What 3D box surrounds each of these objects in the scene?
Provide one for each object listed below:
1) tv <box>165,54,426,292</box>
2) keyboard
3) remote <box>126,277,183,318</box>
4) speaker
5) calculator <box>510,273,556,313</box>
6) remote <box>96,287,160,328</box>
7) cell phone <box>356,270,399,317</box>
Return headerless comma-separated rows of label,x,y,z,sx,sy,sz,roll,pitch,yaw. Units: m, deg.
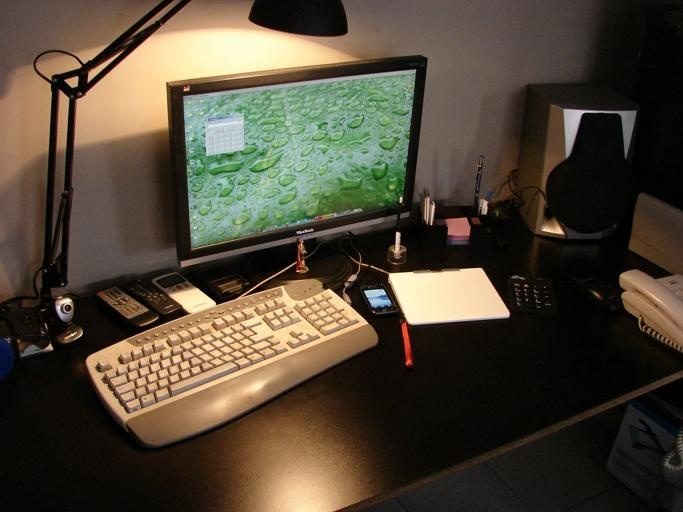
tv,-0.102,-0.242,1.356,0.680,0.478,0.176,-14,34,-25
keyboard,-0.222,0.212,1.212,0.596,0.077,0.323,-17,33,-34
remote,-0.471,0.099,1.340,0.064,0.046,0.199,-29,48,-33
speaker,0.683,-0.275,1.730,0.287,0.500,0.253,-4,31,-11
calculator,0.507,0.102,1.400,0.090,0.025,0.099,5,37,5
remote,-0.530,0.129,1.310,0.185,0.032,0.061,25,34,26
cell phone,0.092,0.112,1.381,0.077,0.017,0.139,-7,29,-15
